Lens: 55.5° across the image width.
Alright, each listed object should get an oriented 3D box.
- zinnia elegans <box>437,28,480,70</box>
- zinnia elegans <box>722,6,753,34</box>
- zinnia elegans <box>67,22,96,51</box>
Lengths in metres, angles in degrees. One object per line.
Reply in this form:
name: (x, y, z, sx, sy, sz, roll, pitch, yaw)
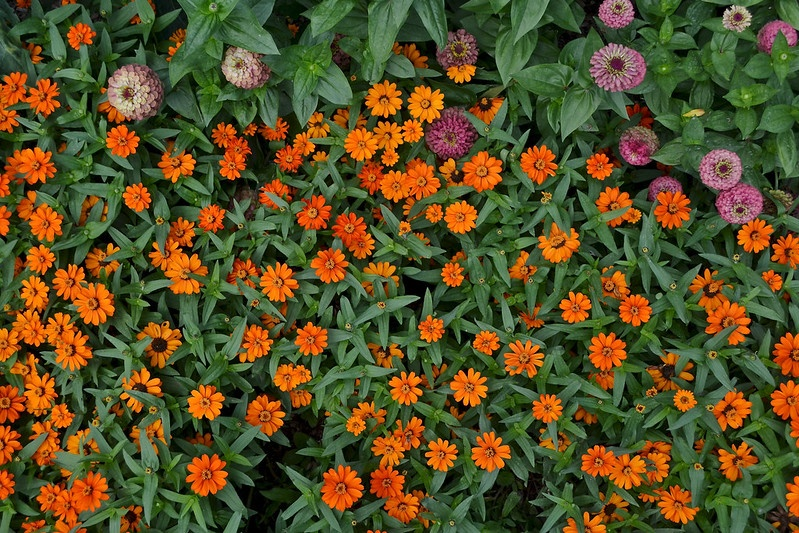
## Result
zinnia elegans: (0.289, -1.145, 4.013, 0.258, 0.122, 0.311, 4, 43, -5)
zinnia elegans: (1.691, -1.249, 3.805, 0.131, 0.114, 0.270, 28, 31, 16)
zinnia elegans: (-1.656, -1.188, 3.947, 0.133, 0.142, 0.133, 21, 28, 5)
